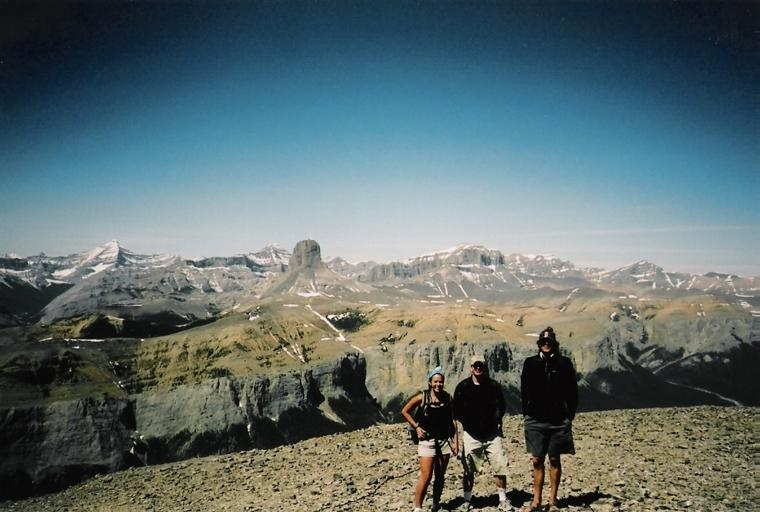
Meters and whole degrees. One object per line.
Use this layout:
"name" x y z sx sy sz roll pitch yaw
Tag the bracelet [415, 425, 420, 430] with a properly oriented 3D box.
"bracelet" 2.307 10.701 31.572 0.347 0.097 0.333 3 -1 12
